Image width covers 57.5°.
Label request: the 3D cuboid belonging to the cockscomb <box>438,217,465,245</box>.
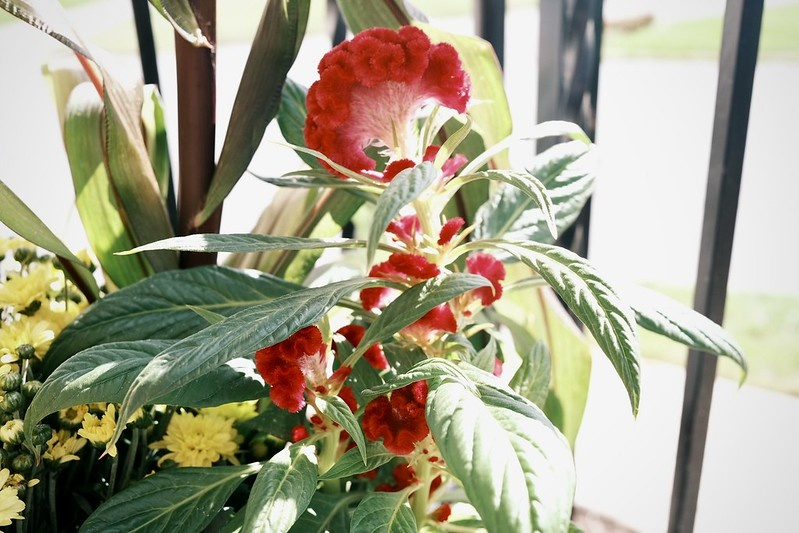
[{"bbox_3d":[0.102,-0.066,1.350,0.015,0.030,0.063,-7,-33,-43],"label":"cockscomb"}]

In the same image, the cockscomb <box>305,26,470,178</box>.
[{"bbox_3d":[-0.035,-0.301,1.314,0.267,0.279,0.199,-4,9,-14],"label":"cockscomb"}]

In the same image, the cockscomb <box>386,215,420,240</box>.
[{"bbox_3d":[0.009,-0.074,1.380,0.063,0.061,0.063,5,-14,0],"label":"cockscomb"}]

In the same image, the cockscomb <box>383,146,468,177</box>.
[{"bbox_3d":[0.050,-0.201,1.329,0.107,0.078,0.109,5,12,27],"label":"cockscomb"}]
